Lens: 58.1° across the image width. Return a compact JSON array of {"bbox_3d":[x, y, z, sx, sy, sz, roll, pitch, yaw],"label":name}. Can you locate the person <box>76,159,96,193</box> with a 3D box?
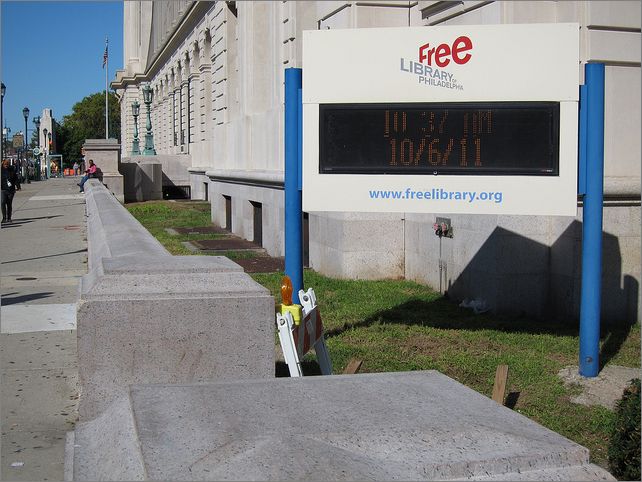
[{"bbox_3d":[-12.870,-3.721,31.942,0.655,1.660,2.265,3,1,-23],"label":"person"}]
